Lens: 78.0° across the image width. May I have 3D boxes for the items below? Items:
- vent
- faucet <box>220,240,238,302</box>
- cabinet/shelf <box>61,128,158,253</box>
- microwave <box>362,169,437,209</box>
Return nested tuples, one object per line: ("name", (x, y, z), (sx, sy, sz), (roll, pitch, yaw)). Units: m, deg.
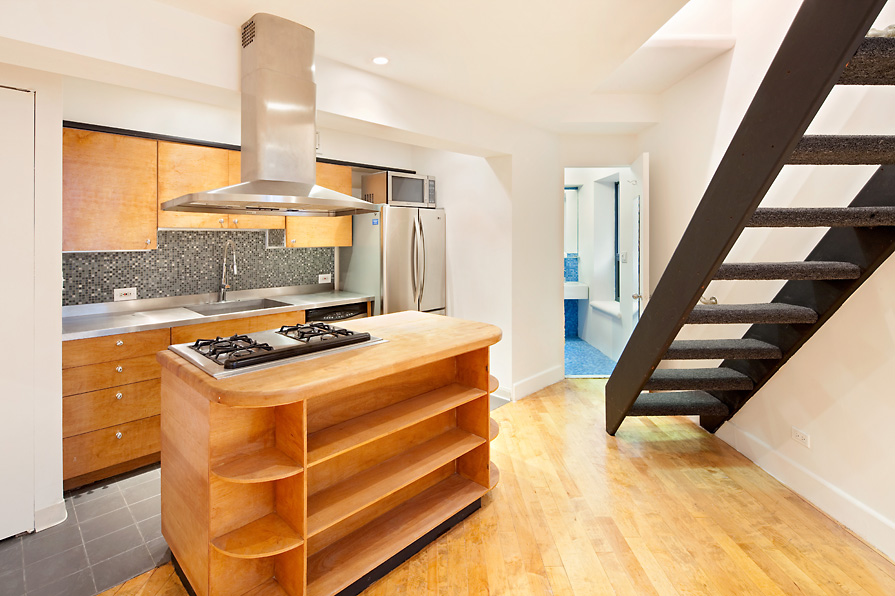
("vent", (-1.144, -1.206, 3.669), (1.018, 1.317, 0.754), (-2, 14, -21))
("faucet", (-2.116, -0.275, 5.296), (0.109, 0.567, 0.245), (5, 13, 10))
("cabinet/shelf", (-2.697, -0.866, 4.432), (0.697, 0.939, 0.262), (-5, 15, -29))
("microwave", (-0.567, -1.183, 5.999), (0.662, 0.319, 0.471), (0, 0, -41))
